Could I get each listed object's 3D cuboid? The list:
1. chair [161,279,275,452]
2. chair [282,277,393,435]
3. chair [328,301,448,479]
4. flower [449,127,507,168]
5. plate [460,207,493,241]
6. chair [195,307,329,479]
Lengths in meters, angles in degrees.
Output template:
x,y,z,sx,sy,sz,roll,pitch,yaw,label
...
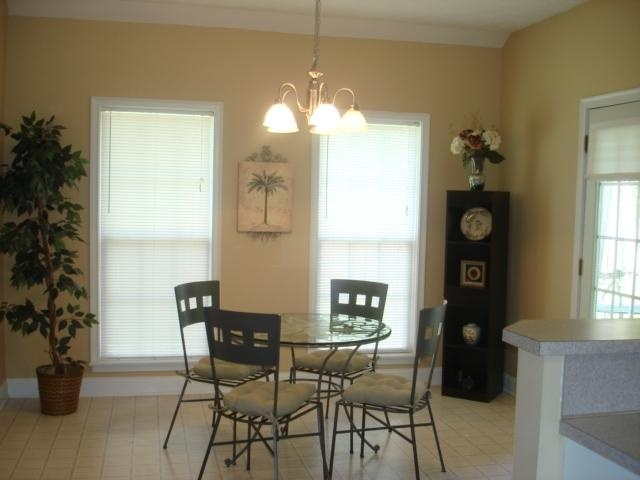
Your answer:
x,y,z,sx,sy,sz,roll,pitch,yaw,label
-0.824,0.908,4.514,1.112,1.647,1.077,1,-1,-2,chair
0.150,0.945,4.406,0.689,1.122,0.767,3,8,17,chair
0.491,1.015,3.961,0.840,1.188,1.017,0,4,4,chair
1.425,-0.847,4.846,0.374,0.296,0.406,-1,5,-19,flower
1.445,-0.141,4.923,0.268,0.281,0.064,3,1,32,plate
-0.408,1.018,3.589,0.834,1.205,0.856,-2,4,-14,chair
